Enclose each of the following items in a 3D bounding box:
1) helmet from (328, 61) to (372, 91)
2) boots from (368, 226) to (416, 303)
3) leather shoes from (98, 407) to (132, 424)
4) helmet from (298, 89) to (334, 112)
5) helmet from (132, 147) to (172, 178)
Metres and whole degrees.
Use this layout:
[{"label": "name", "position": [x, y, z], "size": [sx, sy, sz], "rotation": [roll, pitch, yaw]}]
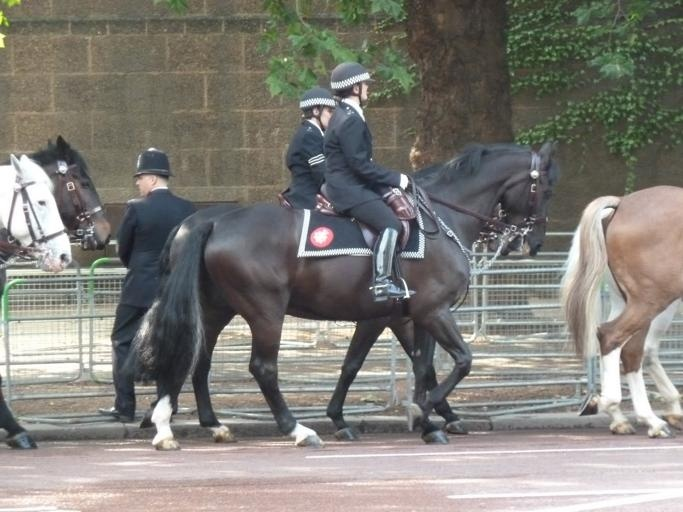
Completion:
[{"label": "helmet", "position": [0.106, -2.248, 23.398], "size": [0.497, 0.209, 0.321], "rotation": [-8, 8, -15]}, {"label": "boots", "position": [0.623, 0.132, 23.098], "size": [0.526, 0.917, 0.294], "rotation": [-3, 9, -5]}, {"label": "leather shoes", "position": [-2.901, 2.106, 24.360], "size": [0.498, 0.165, 0.172], "rotation": [12, 6, 25]}, {"label": "helmet", "position": [-0.312, -2.024, 24.210], "size": [0.433, 0.192, 0.274], "rotation": [-3, 8, -5]}, {"label": "helmet", "position": [-2.492, -1.230, 24.733], "size": [0.504, 0.270, 0.420], "rotation": [2, -3, 2]}]
